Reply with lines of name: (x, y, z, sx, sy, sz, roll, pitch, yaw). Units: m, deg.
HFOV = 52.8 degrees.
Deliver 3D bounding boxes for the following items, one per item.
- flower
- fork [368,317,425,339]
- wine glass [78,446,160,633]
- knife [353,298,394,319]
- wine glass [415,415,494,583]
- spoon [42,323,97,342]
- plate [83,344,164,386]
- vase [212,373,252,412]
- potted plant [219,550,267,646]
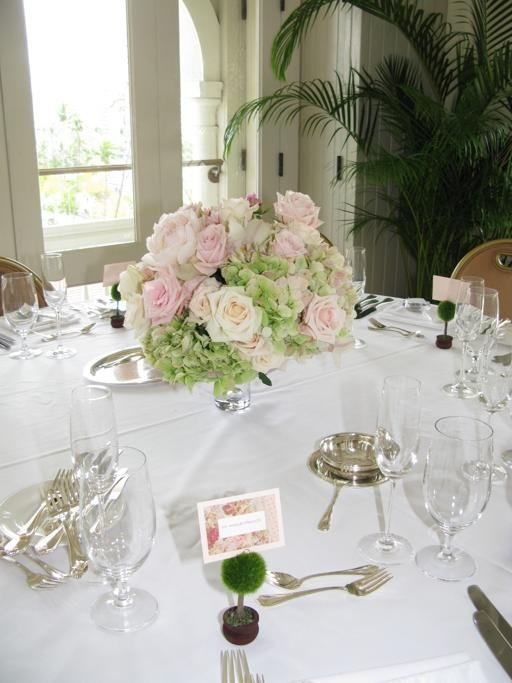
flower: (-0.014, -0.080, 0.950, 0.337, 0.355, 0.258, -25, 1, 4)
fork: (0.432, -0.060, 1.688, 0.247, 0.045, 0.053, 12, 35, 39)
wine glass: (-0.150, 0.195, 0.562, 0.078, 0.192, 0.171, -4, 13, -18)
knife: (0.418, -0.126, 1.878, 0.103, 0.017, 0.355, 23, 21, 17)
wine glass: (0.233, 0.184, 0.613, 0.082, 0.196, 0.076, 1, 18, 12)
spoon: (-0.594, -0.026, 1.624, 0.117, 0.021, 0.025, -16, 37, -18)
plate: (-0.351, 0.074, 1.307, 0.135, 0.018, 0.135, -5, 22, -19)
vase: (-0.047, 0.108, 1.111, 0.074, 0.066, 0.073, 1, -3, -2)
potted plant: (-0.015, 0.244, 0.492, 0.043, 0.080, 0.042, 1, -9, 1)
